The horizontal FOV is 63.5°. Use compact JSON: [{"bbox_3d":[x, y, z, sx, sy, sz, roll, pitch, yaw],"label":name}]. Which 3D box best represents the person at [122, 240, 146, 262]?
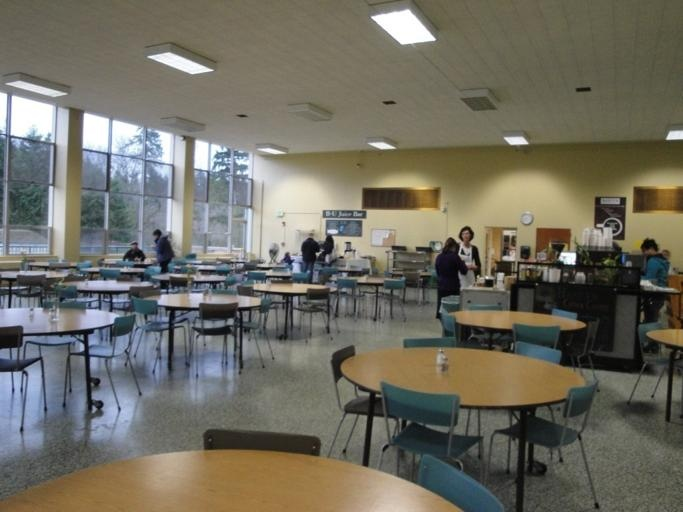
[{"bbox_3d":[-4.799,-0.074,12.811,0.596,0.739,0.466,1,-1,-27],"label":"person"}]

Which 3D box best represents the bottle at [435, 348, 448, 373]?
[{"bbox_3d":[0.843,0.884,4.627,0.153,0.182,0.098,2,6,28],"label":"bottle"}]
